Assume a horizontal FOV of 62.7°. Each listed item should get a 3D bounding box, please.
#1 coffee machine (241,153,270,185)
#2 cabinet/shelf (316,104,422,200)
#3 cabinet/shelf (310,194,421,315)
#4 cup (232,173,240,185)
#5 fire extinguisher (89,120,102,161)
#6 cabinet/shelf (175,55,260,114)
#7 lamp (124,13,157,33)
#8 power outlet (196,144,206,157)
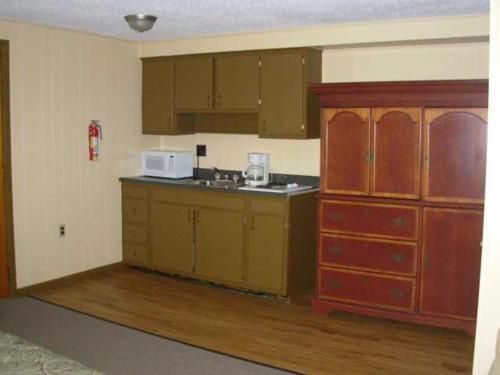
[{"bbox_3d":[0.094,-0.218,4.946,0.395,0.392,0.322,0,1,-29],"label":"coffee machine"},{"bbox_3d":[1.199,-0.353,3.968,0.889,0.794,0.314,6,6,25],"label":"cabinet/shelf"},{"bbox_3d":[1.179,0.643,4.014,1.191,1.230,0.475,3,3,28],"label":"cabinet/shelf"},{"bbox_3d":[-0.178,-0.109,5.366,0.123,0.121,0.224,2,-2,0],"label":"cup"},{"bbox_3d":[-1.966,-0.597,5.254,0.109,0.535,0.232,3,8,24],"label":"fire extinguisher"},{"bbox_3d":[-0.358,-1.287,5.097,0.810,0.463,0.293,3,5,28],"label":"cabinet/shelf"},{"bbox_3d":[-1.112,-1.674,4.186,0.203,0.090,0.201,-1,4,-3],"label":"lamp"},{"bbox_3d":[-0.680,-0.507,5.673,0.155,0.170,0.048,5,9,32],"label":"power outlet"}]
